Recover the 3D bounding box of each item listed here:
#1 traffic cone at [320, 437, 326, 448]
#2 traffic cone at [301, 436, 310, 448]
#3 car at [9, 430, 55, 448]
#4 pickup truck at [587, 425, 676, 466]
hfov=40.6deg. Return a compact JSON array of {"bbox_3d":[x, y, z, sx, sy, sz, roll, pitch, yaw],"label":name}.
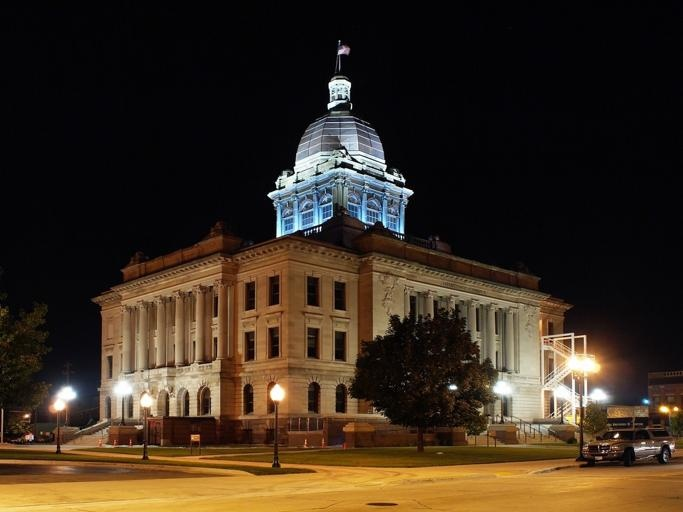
[{"bbox_3d":[-1.276,13.173,65.652,0.433,0.627,0.454,3,-12,-16],"label":"traffic cone"},{"bbox_3d":[-2.518,13.279,66.215,0.577,0.690,0.602,2,-16,-9],"label":"traffic cone"},{"bbox_3d":[-27.993,16.263,83.217,4.506,1.594,2.893,-7,-20,17],"label":"car"},{"bbox_3d":[15.798,10.366,50.247,3.999,1.630,2.294,13,-22,-34],"label":"pickup truck"}]
